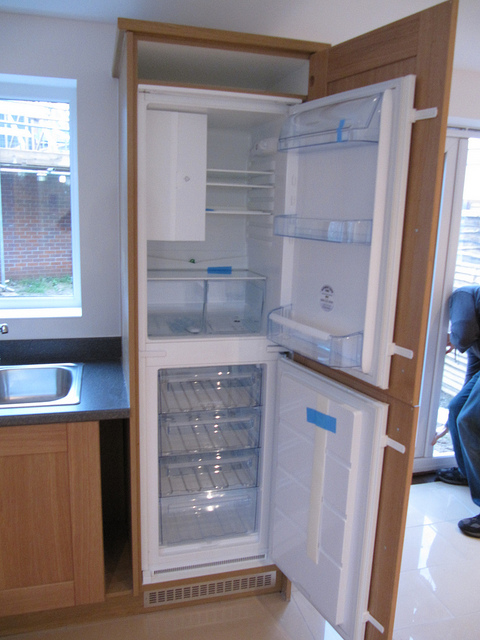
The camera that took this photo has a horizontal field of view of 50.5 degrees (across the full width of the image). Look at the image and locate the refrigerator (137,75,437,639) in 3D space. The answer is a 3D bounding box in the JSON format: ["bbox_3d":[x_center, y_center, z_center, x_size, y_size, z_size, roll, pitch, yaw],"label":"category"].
[{"bbox_3d":[-0.027,0.165,1.755,0.662,1.806,1.222,-3,12,-12],"label":"refrigerator"}]

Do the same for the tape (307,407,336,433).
[{"bbox_3d":[0.253,0.309,1.559,0.004,0.044,0.098,-2,11,-16],"label":"tape"}]
